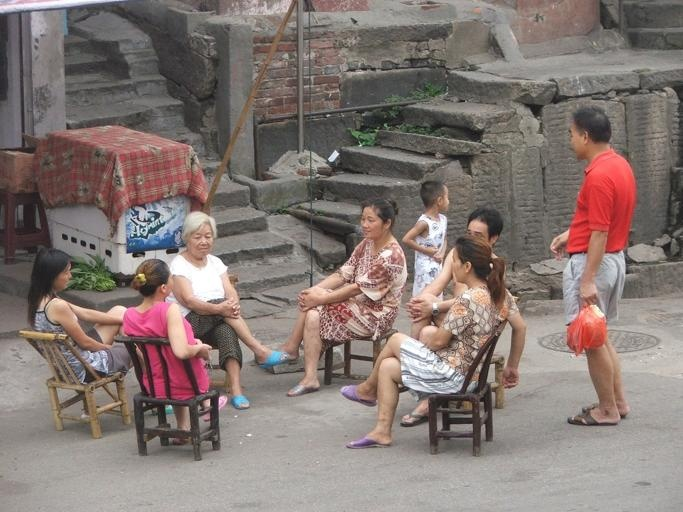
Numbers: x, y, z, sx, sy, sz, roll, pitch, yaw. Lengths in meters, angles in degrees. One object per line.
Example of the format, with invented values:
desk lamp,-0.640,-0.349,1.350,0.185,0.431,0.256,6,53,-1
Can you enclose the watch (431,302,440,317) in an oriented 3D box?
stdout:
watch,0.839,0.463,12.373,0.071,0.097,0.105,0,10,2

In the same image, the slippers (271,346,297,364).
slippers,-0.524,0.920,12.873,0.321,0.110,0.110,-4,9,-31

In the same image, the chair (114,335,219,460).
chair,-1.390,1.152,11.804,0.784,1.044,0.672,-3,4,0

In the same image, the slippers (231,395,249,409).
slippers,-0.885,1.303,12.523,0.183,0.123,0.135,-2,4,5

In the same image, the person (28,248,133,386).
person,-2.065,0.513,12.246,1.226,1.120,0.754,-4,13,-32

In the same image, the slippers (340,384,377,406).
slippers,0.139,1.202,12.065,0.331,0.086,0.146,17,4,4

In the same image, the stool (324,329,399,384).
stool,0.174,0.972,13.173,0.641,0.521,0.565,2,3,17

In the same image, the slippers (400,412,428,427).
slippers,0.630,1.426,12.172,0.221,0.062,0.113,1,-2,-43

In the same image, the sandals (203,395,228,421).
sandals,-1.047,1.324,12.262,0.121,0.130,0.328,7,23,14

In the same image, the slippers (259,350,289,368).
slippers,-0.575,0.933,12.868,0.342,0.120,0.106,-13,25,3

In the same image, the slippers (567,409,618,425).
slippers,2.116,1.359,11.799,0.337,0.075,0.154,1,4,10

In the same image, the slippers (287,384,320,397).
slippers,-0.336,1.225,12.800,0.303,0.073,0.108,-2,1,-24

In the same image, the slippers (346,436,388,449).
slippers,0.234,1.556,11.720,0.339,0.076,0.120,2,-7,-4

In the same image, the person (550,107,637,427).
person,2.191,0.072,11.888,0.626,2.684,0.586,-2,5,9

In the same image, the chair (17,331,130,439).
chair,-2.243,1.131,12.120,0.728,1.017,0.764,9,23,34
